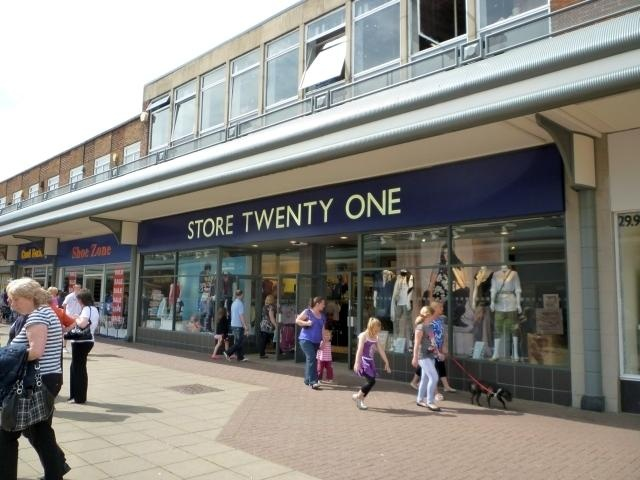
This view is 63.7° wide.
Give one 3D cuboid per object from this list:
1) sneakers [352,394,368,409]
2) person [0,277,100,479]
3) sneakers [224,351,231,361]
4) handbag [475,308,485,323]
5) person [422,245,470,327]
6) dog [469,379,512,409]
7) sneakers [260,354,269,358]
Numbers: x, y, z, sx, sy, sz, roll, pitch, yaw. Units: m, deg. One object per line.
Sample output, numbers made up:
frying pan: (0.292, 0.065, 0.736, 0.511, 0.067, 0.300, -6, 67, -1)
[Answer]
sneakers: (0.711, 2.936, 9.328, 0.136, 0.163, 0.393, 2, -13, -22)
person: (-3.147, 1.582, 5.739, 0.704, 2.300, 0.767, 2, -4, -19)
sneakers: (-2.706, 3.376, 14.980, 0.135, 0.132, 0.366, 9, -40, 15)
handbag: (3.484, 1.630, 11.153, 0.080, 0.282, 0.210, 9, -5, -25)
person: (2.847, 1.141, 11.797, 1.184, 2.191, 0.466, -3, -36, 21)
dog: (3.183, 2.876, 9.643, 0.696, 0.494, 0.901, 0, -5, 17)
sneakers: (-1.723, 3.627, 16.034, 0.236, 0.105, 0.082, -4, -5, 19)
